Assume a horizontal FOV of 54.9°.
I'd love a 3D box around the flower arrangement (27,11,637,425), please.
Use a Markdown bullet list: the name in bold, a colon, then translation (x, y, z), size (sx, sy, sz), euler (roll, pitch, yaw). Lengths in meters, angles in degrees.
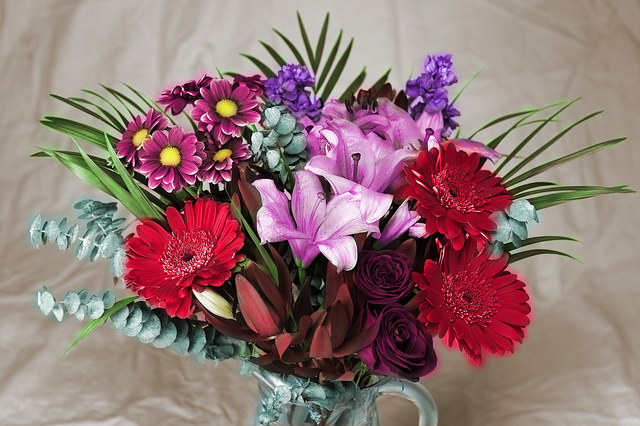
- **flower arrangement**: translation (-0.030, 0.008, 0.853), size (0.586, 0.607, 0.362), euler (-18, -31, -18)
